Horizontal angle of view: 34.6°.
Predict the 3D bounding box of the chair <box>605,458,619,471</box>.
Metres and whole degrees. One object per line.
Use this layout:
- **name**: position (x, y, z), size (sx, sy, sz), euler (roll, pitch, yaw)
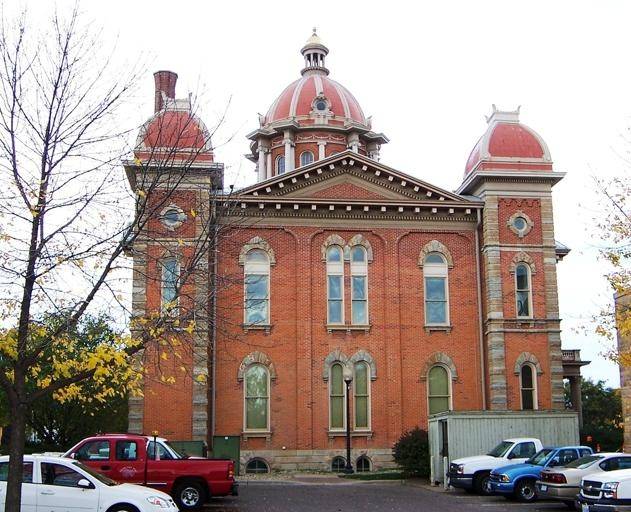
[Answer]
- **chair**: position (8.520, 5.973, 29.179), size (0.427, 0.527, 0.291), euler (1, -4, 9)
